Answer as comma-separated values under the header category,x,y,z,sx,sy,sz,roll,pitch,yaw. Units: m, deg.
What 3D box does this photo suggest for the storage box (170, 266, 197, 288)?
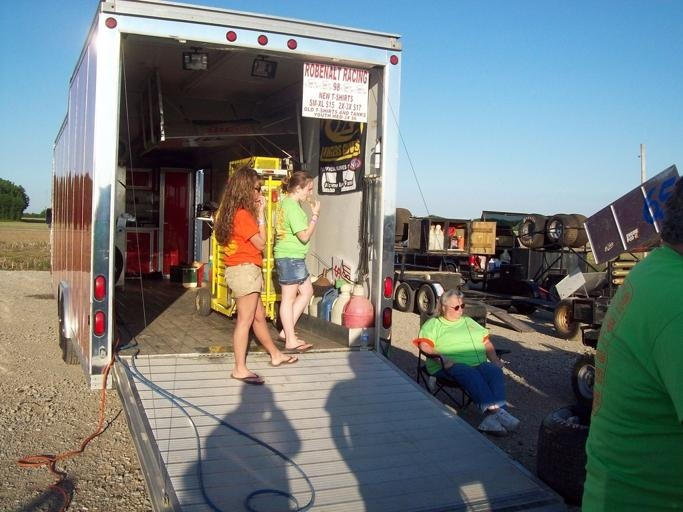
category,x,y,z,sx,sy,sz,roll,pitch,yaw
storage box,-3.455,0.566,11.936,0.373,0.535,0.682,5,-4,-36

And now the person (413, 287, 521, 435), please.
category,x,y,z,sx,sy,sz,roll,pitch,yaw
person,1.250,0.961,5.213,0.748,1.406,1.219,1,-11,-17

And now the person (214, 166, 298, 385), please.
category,x,y,z,sx,sy,sz,roll,pitch,yaw
person,-0.796,0.138,4.883,0.584,1.808,0.842,-2,12,-23

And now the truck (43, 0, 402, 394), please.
category,x,y,z,sx,sy,sz,roll,pitch,yaw
truck,-2.129,-0.913,8.137,3.044,3.917,6.773,1,6,-20

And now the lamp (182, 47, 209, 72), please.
category,x,y,z,sx,sy,sz,roll,pitch,yaw
lamp,-1.642,-2.239,6.160,0.231,0.252,0.718,1,13,-12

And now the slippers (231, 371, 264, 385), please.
category,x,y,z,sx,sy,sz,roll,pitch,yaw
slippers,-0.777,1.016,4.659,0.225,0.063,0.108,2,6,33

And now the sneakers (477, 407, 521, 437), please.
category,x,y,z,sx,sy,sz,roll,pitch,yaw
sneakers,1.446,1.535,5.104,0.254,0.168,0.266,-5,-4,1

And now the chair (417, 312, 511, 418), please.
category,x,y,z,sx,sy,sz,roll,pitch,yaw
chair,1.214,0.896,5.444,0.773,1.379,0.830,17,-20,-38

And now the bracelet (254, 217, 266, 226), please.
category,x,y,z,sx,sy,sz,roll,pitch,yaw
bracelet,-0.739,-0.322,4.911,0.063,0.069,0.069,0,5,4
